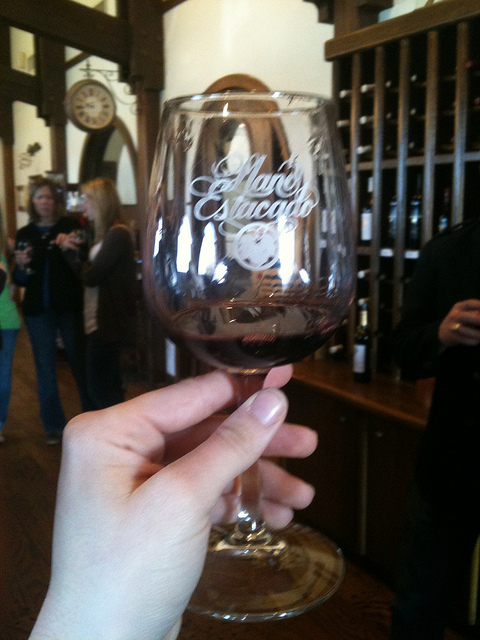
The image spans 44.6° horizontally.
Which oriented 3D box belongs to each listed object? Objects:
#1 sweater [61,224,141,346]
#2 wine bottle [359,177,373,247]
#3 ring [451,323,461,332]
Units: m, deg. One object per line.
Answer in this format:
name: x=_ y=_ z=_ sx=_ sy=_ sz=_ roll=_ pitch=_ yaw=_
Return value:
sweater: x=-0.254 y=-0.075 z=1.107 sx=0.106 sy=0.212 sz=0.106 roll=-10 pitch=18 yaw=-35
wine bottle: x=0.357 y=-0.307 z=1.666 sx=0.050 sy=0.189 sz=0.115 roll=-6 pitch=7 yaw=11
ring: x=0.330 y=0.009 z=0.894 sx=0.010 sy=0.010 sz=0.010 roll=1 pitch=-4 yaw=0
